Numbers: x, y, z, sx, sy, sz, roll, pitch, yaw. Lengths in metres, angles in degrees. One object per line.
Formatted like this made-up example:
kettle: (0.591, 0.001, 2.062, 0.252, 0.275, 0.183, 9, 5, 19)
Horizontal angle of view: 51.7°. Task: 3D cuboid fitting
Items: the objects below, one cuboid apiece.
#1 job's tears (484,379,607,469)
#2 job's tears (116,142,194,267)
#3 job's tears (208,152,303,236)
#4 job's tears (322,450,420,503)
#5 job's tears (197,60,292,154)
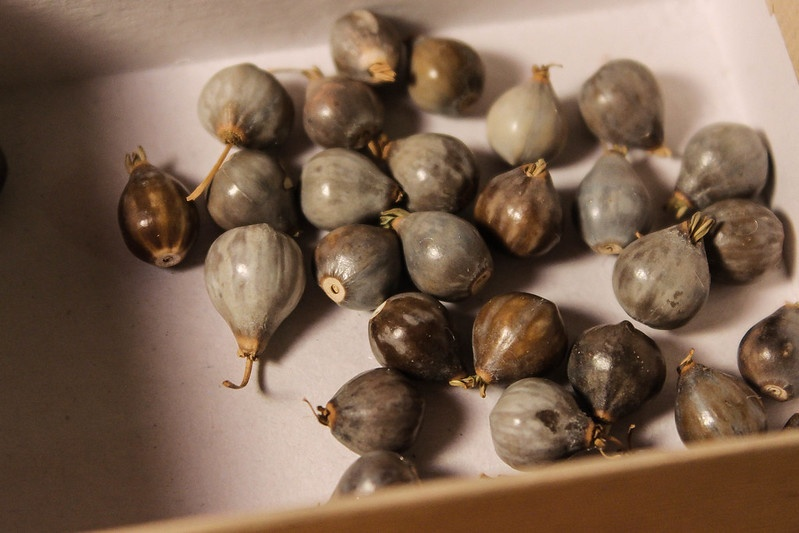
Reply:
job's tears: (0.338, 0.376, 1.954, 0.244, 0.172, 0.140, -10, 28, 4)
job's tears: (-0.633, -0.155, 2.182, 0.163, 0.284, 0.150, -29, -7, 10)
job's tears: (-0.352, -0.197, 2.122, 0.183, 0.155, 0.156, -16, -22, 28)
job's tears: (-0.096, 0.498, 1.944, 0.171, 0.119, 0.132, 2, 6, -25)
job's tears: (-0.402, -0.415, 2.160, 0.240, 0.213, 0.119, -18, 28, -11)
